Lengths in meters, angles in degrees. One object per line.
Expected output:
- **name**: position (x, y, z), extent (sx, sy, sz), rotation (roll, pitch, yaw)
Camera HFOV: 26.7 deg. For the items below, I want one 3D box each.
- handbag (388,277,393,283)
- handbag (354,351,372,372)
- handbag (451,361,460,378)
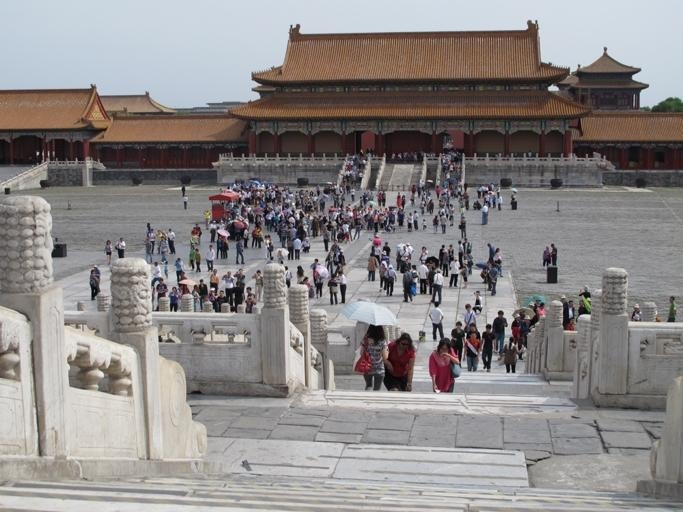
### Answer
- **handbag**: position (1.682, 0.826, 47.072), extent (0.164, 0.112, 0.188), rotation (-8, -14, 13)
- **handbag**: position (0.551, 2.535, 33.992), extent (0.396, 0.489, 0.240), rotation (0, 1, 22)
- **handbag**: position (2.713, 2.676, 33.838), extent (0.101, 0.374, 0.356), rotation (-6, 5, -18)
